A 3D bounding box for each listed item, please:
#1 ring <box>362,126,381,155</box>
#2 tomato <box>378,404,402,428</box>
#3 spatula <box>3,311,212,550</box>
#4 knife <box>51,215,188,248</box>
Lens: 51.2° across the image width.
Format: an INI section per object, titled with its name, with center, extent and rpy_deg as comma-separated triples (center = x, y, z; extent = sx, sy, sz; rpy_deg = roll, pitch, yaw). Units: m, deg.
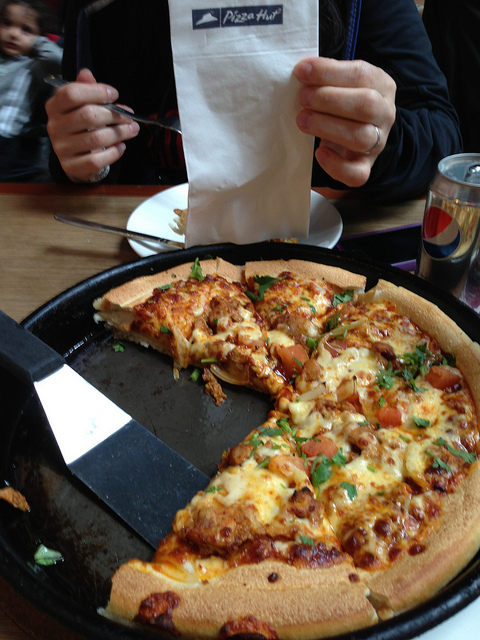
[ring]
center = 0.435, -0.569, 1.606
extent = 0.016, 0.072, 0.075
rpy_deg = 23, 30, 38
[tomato]
center = 0.358, 0.226, 1.197
extent = 0.046, 0.046, 0.043
rpy_deg = -15, 83, -10
[spatula]
center = -0.329, 0.213, 1.056
extent = 0.524, 0.268, 0.184
rpy_deg = 23, 49, 25
[knife]
center = -0.429, -0.320, 1.825
extent = 0.441, 0.038, 0.077
rpy_deg = 13, 54, 10
